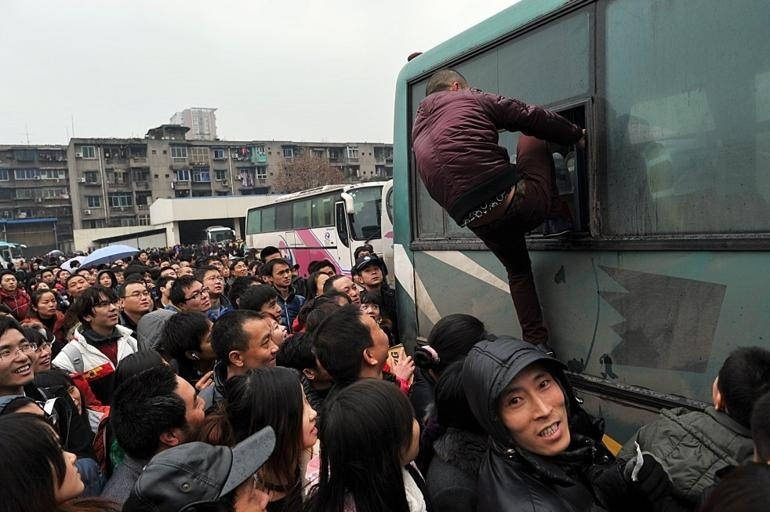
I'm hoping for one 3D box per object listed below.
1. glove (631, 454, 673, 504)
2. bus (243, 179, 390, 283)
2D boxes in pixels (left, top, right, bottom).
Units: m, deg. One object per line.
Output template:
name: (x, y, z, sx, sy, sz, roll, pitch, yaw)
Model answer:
glove: (1.476, 1.190, 2.882, 0.264, 0.320, 0.117, -5, 4, -22)
bus: (-2.476, -0.852, 18.271, 2.291, 2.904, 8.333, -9, 4, -35)
